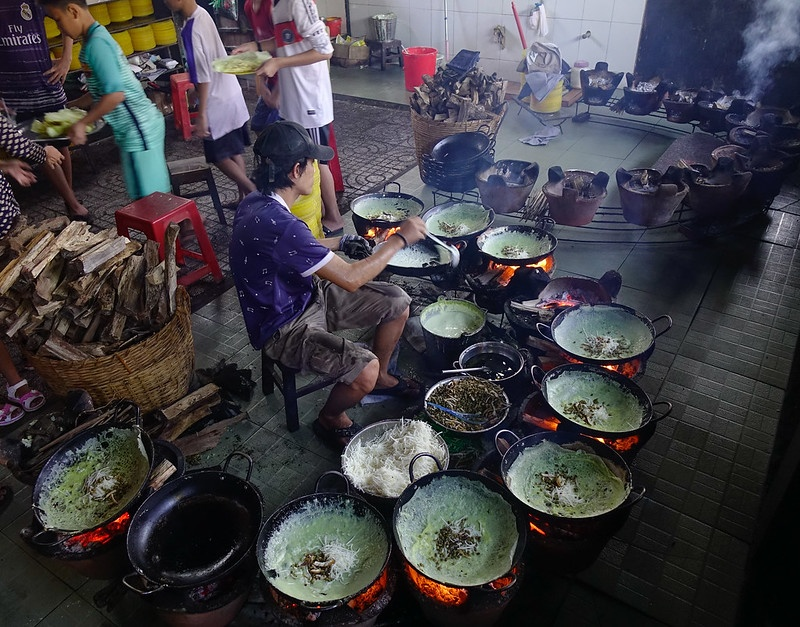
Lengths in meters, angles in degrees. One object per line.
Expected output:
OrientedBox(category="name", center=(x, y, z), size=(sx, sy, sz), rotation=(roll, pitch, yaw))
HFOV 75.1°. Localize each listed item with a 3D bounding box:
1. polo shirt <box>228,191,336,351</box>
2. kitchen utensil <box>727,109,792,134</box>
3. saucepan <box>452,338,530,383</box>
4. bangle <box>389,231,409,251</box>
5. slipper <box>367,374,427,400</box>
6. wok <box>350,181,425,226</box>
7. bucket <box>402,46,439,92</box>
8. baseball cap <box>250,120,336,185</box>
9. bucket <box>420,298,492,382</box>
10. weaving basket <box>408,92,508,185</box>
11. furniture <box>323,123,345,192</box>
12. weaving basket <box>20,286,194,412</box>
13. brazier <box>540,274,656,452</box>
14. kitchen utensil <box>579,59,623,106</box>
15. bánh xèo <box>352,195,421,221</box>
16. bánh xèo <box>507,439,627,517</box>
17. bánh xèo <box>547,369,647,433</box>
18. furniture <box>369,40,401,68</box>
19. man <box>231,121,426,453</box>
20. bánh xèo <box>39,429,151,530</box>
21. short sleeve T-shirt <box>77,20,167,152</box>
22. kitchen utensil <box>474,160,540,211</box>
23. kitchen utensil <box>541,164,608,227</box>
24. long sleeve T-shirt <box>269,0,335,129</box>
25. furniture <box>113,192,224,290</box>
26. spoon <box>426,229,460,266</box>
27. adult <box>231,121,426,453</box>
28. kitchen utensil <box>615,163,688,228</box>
OrientedBox(category="polo shirt", center=(-0.938, -0.281, 4.081), size=(0.657, 0.976, 1.217), rotation=(-24, 42, -16))
OrientedBox(category="kitchen utensil", center=(4.865, -2.555, 6.989), size=(0.714, 0.235, 0.501), rotation=(18, 54, 29))
OrientedBox(category="saucepan", center=(0.741, 0.367, 4.397), size=(0.535, 0.179, 0.490), rotation=(0, 23, 24))
OrientedBox(category="bangle", center=(0.013, -0.575, 4.147), size=(0.129, 0.039, 0.126), rotation=(-42, 85, -6))
OrientedBox(category="slipper", center=(-0.033, 0.655, 4.652), size=(0.557, 0.170, 0.198), rotation=(2, 57, 1))
OrientedBox(category="wok", center=(-0.144, -1.165, 5.761), size=(0.611, 0.188, 0.743), rotation=(5, 46, 7))
OrientedBox(category="bucket", center=(0.403, -4.758, 10.368), size=(0.605, 0.787, 0.703), rotation=(-4, 37, -4))
OrientedBox(category="baseball cap", center=(-0.840, -1.202, 3.886), size=(0.579, 0.340, 0.355), rotation=(-32, 51, -21))
OrientedBox(category="bucket", center=(0.476, 0.149, 4.758), size=(0.636, 0.453, 0.644), rotation=(-2, 45, 2))
OrientedBox(category="weaving basket", center=(0.840, -2.372, 7.591), size=(1.289, 0.982, 1.215), rotation=(9, 23, 14))
OrientedBox(category="furniture", center=(-0.916, -2.185, 7.324), size=(0.295, 0.899, 0.184), rotation=(22, 29, 28))
OrientedBox(category="weaving basket", center=(-2.261, 0.385, 4.361), size=(1.127, 0.624, 0.957), rotation=(-32, 43, -27))
OrientedBox(category="brazier", center=(1.565, 0.462, 4.056), size=(0.914, 0.255, 1.731), rotation=(2, 39, 16))
OrientedBox(category="kitchen utensil", center=(3.470, -3.928, 8.997), size=(0.690, 0.452, 0.921), rotation=(13, 53, 18))
OrientedBox(category="bánh xèo", center=(-0.130, -1.185, 5.803), size=(0.465, 0.107, 0.546), rotation=(-3, 41, -3))
OrientedBox(category="bánh xèo", center=(1.113, 1.208, 3.789), size=(0.973, 1.068, 0.255), rotation=(-4, 62, 20))
OrientedBox(category="bánh xèo", center=(1.436, 0.659, 3.860), size=(0.537, 0.122, 0.430), rotation=(4, 43, 10))
OrientedBox(category="furniture", center=(-0.359, -6.151, 12.386), size=(0.769, 0.610, 0.624), rotation=(-7, 37, -8))
OrientedBox(category="man", center=(-0.532, -0.196, 4.337), size=(1.589, 2.549, 1.471), rotation=(-8, 24, -17))
OrientedBox(category="bánh xèo", center=(-2.113, 1.234, 3.715), size=(0.549, 0.159, 0.683), rotation=(18, 52, 13))
OrientedBox(category="short sleeve T-shirt", center=(-2.878, -2.316, 5.320), size=(0.551, 1.189, 0.894), rotation=(-22, 45, -21))
OrientedBox(category="kitchen utensil", center=(1.229, -1.519, 6.030), size=(0.686, 0.464, 0.697), rotation=(-1, 41, 4))
OrientedBox(category="kitchen utensil", center=(2.009, -1.412, 5.911), size=(0.676, 0.523, 0.747), rotation=(16, 46, 27))
OrientedBox(category="long sleeve T-shirt", center=(-1.075, -2.711, 5.781), size=(0.643, 1.311, 0.447), rotation=(-8, 37, -10))
OrientedBox(category="furniture", center=(-2.345, -0.708, 5.280), size=(0.760, 0.888, 0.796), rotation=(25, 49, 14))
OrientedBox(category="spoon", center=(0.415, -0.624, 5.072), size=(0.175, 0.137, 0.456), rotation=(-32, 64, -26))
OrientedBox(category="adult", center=(-0.582, -0.202, 4.407), size=(1.460, 2.517, 1.433), rotation=(17, 29, 36))
OrientedBox(category="kitchen utensil", center=(2.819, -1.314, 5.913), size=(0.714, 0.657, 0.654), rotation=(5, 37, 9))
